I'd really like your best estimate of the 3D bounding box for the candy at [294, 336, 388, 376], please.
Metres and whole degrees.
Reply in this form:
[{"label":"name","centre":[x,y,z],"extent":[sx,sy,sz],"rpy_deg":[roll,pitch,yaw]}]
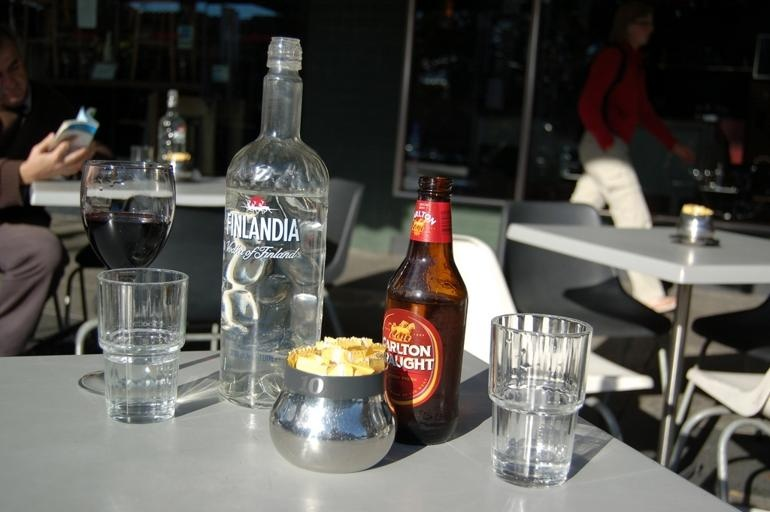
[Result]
[{"label":"candy","centre":[-0.066,0.134,0.925],"extent":[0.131,0.033,0.076],"rpy_deg":[2,12,-4]}]
